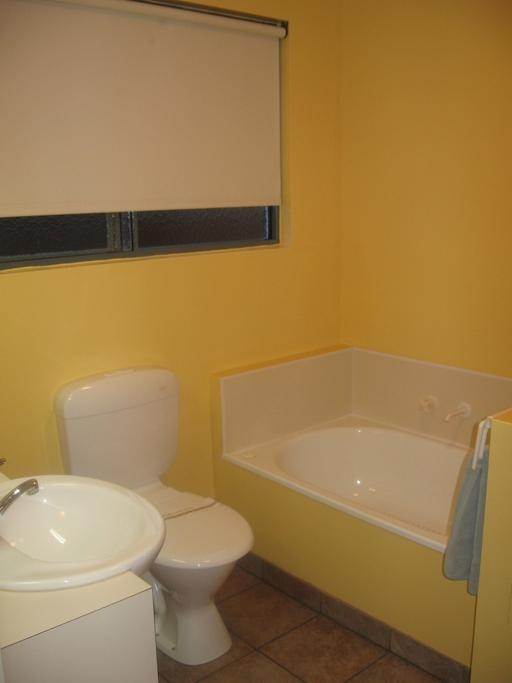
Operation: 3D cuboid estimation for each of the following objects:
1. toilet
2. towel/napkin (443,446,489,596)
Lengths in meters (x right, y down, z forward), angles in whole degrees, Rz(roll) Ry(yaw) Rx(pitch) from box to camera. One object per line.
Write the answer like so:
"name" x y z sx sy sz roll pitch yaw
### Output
"toilet" -0.297 0.619 1.843 0.666 0.928 0.442 15 21 42
"towel/napkin" 0.579 0.493 1.464 0.094 0.418 0.042 8 18 21
